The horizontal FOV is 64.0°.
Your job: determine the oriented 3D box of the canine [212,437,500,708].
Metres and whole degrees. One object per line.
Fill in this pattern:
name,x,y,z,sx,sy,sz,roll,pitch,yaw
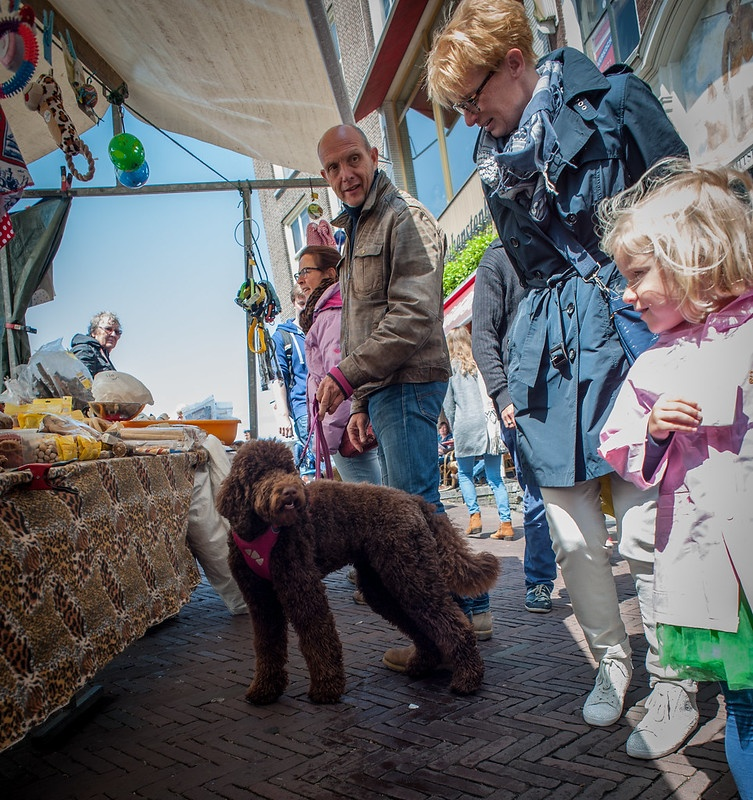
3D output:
canine,-0.062,0.742,2.660,1.226,1.119,0.711,-1,-11,-10

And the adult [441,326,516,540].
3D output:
adult,1.163,0.336,7.119,0.770,2.475,0.711,-7,-12,20

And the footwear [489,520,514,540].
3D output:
footwear,1.365,1.410,6.519,0.128,0.211,0.288,3,-3,-42

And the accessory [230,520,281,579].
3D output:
accessory,-0.494,0.649,2.516,0.153,0.231,0.238,-3,-6,-29

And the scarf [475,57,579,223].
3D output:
scarf,0.530,-0.882,2.217,0.238,0.555,0.411,-10,5,-32

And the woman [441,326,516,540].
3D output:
woman,1.102,0.388,7.134,0.739,2.420,0.727,-3,-19,0

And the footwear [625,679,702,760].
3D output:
footwear,0.930,1.005,1.949,0.122,0.136,0.345,-11,-8,36

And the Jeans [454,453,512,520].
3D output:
Jeans,1.242,0.918,7.008,0.538,1.269,0.325,-5,38,15

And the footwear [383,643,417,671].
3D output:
footwear,0.110,1.246,2.917,0.180,0.077,0.084,3,2,38

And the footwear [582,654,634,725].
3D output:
footwear,0.840,1.044,2.196,0.101,0.136,0.315,-4,-2,20

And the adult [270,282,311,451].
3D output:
adult,-0.794,-0.225,6.459,0.554,1.868,0.450,3,32,7
